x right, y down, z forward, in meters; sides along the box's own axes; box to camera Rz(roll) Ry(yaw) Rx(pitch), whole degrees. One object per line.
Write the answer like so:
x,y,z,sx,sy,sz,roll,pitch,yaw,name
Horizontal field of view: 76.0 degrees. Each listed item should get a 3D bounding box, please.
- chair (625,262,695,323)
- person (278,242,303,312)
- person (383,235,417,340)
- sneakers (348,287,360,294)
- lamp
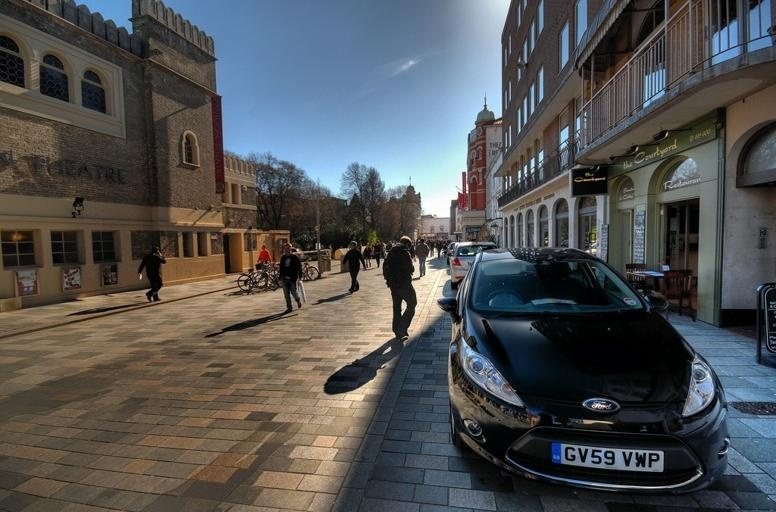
6.134,0.825,11.198,1.216,1.371,2.063,-2,4,-6,chair
-2.913,0.783,14.819,0.559,1.515,0.993,-3,2,-11,person
0.280,0.713,11.869,0.810,1.564,0.897,-4,2,-24,person
-1.317,1.294,18.447,0.145,0.197,0.489,12,9,9,sneakers
6.934,-2.868,13.289,0.271,0.431,1.995,-32,5,-14,lamp
